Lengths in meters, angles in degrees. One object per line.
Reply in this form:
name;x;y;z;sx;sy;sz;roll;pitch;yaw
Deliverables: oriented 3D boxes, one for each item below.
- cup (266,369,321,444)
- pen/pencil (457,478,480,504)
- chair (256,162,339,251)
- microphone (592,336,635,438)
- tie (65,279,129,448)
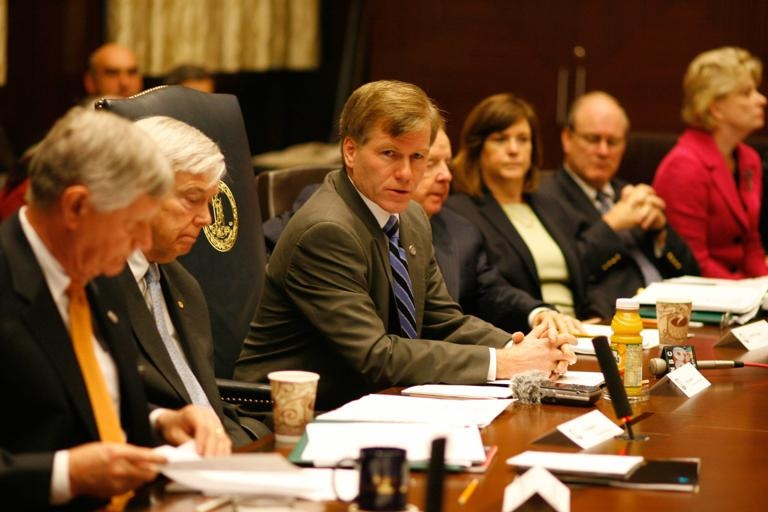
cup;-0.219;0.366;1.615;0.138;0.168;0.142;2;2;0
pen/pencil;0.172;0.451;1.314;0.016;0.015;0.105;16;23;20
chair;-0.433;-0.235;3.098;0.344;0.512;0.396;0;-1;-11
microphone;0.595;0.335;1.684;0.034;0.243;0.038;-25;7;-30
tie;-0.663;0.258;1.508;0.063;0.388;0.050;-13;0;25
